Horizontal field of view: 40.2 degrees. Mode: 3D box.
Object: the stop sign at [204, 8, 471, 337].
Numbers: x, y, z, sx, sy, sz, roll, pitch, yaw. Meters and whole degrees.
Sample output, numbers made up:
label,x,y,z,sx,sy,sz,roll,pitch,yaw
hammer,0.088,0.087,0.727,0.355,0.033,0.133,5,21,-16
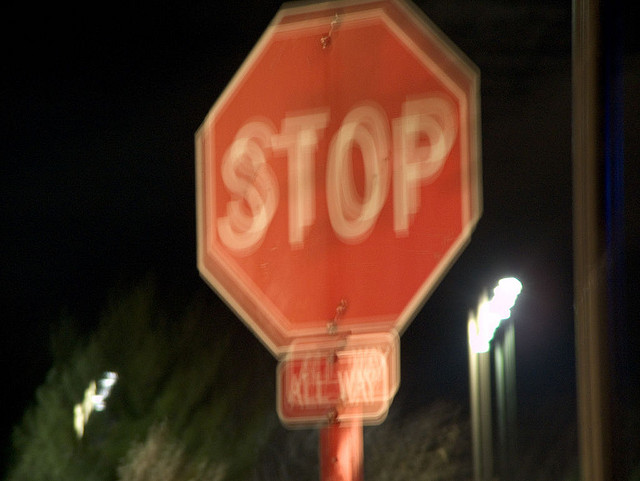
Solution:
label,x,y,z,sx,sy,sz,roll,pitch,yaw
stop sign,0.127,-0.271,3.918,1.090,1.700,0.186,2,0,9
